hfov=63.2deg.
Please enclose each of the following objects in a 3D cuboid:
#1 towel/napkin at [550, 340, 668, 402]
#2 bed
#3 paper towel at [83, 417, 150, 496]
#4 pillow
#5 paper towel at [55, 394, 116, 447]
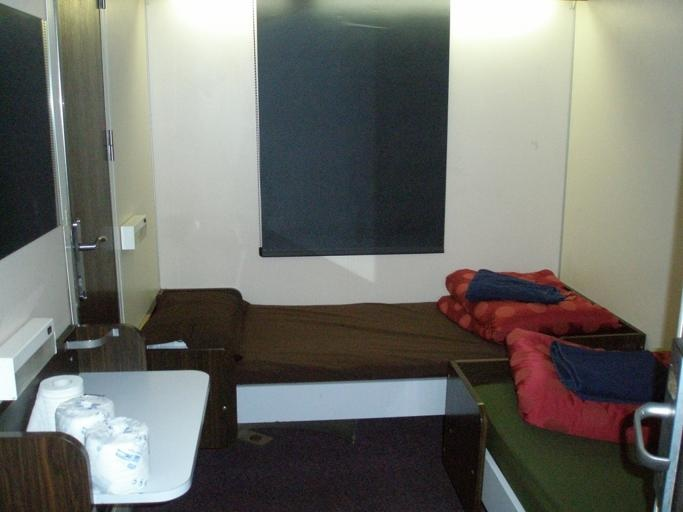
[{"bbox_3d":[1.282,0.564,2.656,0.300,0.115,0.309,1,16,6],"label":"towel/napkin"},{"bbox_3d":[-0.150,0.468,3.436,2.033,0.405,1.043,-3,9,-5],"label":"bed"},{"bbox_3d":[-0.727,0.636,1.795,0.192,0.192,0.190,13,13,15],"label":"paper towel"},{"bbox_3d":[-0.874,0.384,3.228,0.481,0.122,0.366,1,26,-4],"label":"pillow"},{"bbox_3d":[-0.848,0.538,1.826,0.134,0.092,0.136,2,11,-17],"label":"paper towel"}]
